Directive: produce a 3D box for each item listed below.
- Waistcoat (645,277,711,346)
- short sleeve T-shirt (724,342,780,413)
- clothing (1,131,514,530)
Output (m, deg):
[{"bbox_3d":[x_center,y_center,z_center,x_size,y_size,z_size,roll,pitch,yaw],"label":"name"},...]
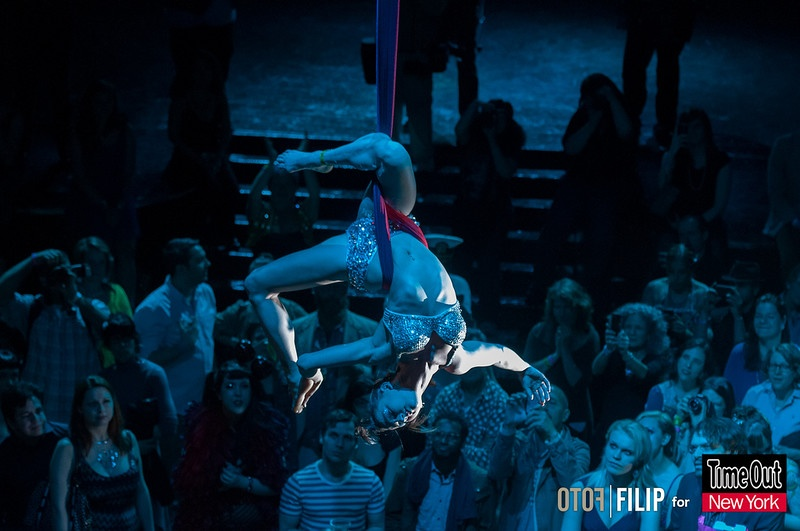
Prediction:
[{"bbox_3d":[2.551,0.395,9.359,0.488,0.631,0.240,3,-4,-1],"label":"Waistcoat"},{"bbox_3d":[3.125,1.006,9.264,0.380,0.512,0.282,19,-21,3],"label":"short sleeve T-shirt"},{"bbox_3d":[-0.841,0.126,7.123,2.102,2.150,1.383,-7,2,23],"label":"clothing"}]
